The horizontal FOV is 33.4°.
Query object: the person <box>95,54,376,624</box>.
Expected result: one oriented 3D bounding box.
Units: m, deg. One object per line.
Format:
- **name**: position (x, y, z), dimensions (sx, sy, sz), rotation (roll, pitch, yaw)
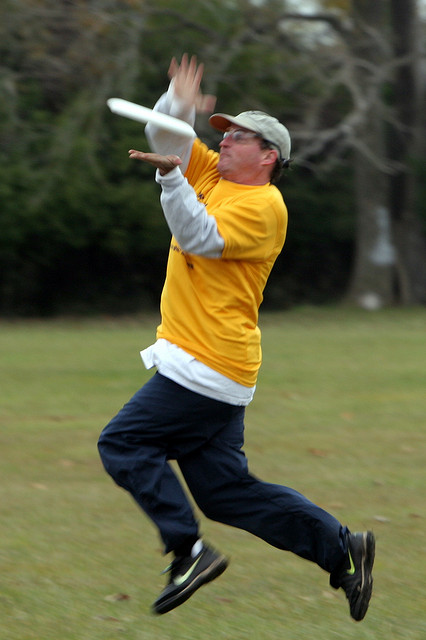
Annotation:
- **person**: position (0.049, 0.119, 2.096), dimensions (0.763, 1.464, 0.446), rotation (-1, 4, -18)
